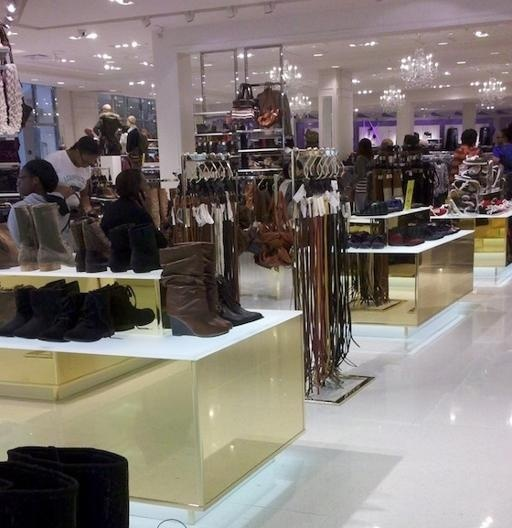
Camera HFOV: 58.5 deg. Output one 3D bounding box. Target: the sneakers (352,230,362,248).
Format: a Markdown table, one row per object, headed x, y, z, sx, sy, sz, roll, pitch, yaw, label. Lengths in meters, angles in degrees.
| x | y | z | sx | sy | sz | roll | pitch | yaw | label |
| --- | --- | --- | --- | --- | --- | --- | --- | --- | --- |
| 0.970 | -0.242 | 4.415 | 0.077 | 0.156 | 0.053 | 2 | -16 | 13 | sneakers |

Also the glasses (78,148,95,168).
| x | y | z | sx | sy | sz | roll | pitch | yaw | label |
| --- | --- | --- | --- | --- | --- | --- | --- | --- | --- |
| -1.572 | -0.993 | 4.261 | 0.126 | 0.149 | 0.106 | -5 | 13 | 0 | glasses |

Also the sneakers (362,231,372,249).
| x | y | z | sx | sy | sz | roll | pitch | yaw | label |
| --- | --- | --- | --- | --- | --- | --- | --- | --- | --- |
| 1.053 | -0.231 | 4.382 | 0.114 | 0.188 | 0.404 | -3 | 4 | 15 | sneakers |

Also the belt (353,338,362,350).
| x | y | z | sx | sy | sz | roll | pitch | yaw | label |
| --- | --- | --- | --- | --- | --- | --- | --- | --- | --- |
| 0.924 | 0.710 | 4.248 | 0.079 | 0.068 | 0.327 | -1 | 4 | 12 | belt |

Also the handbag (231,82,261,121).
| x | y | z | sx | sy | sz | roll | pitch | yaw | label |
| --- | --- | --- | --- | --- | --- | --- | --- | --- | --- |
| -0.168 | -2.649 | 7.452 | 0.473 | 0.625 | 0.315 | -1 | 4 | 0 | handbag |

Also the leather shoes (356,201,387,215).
| x | y | z | sx | sy | sz | roll | pitch | yaw | label |
| --- | --- | --- | --- | --- | --- | --- | --- | --- | --- |
| 1.184 | -0.552 | 4.582 | 0.133 | 0.094 | 0.234 | -6 | 8 | -34 | leather shoes |

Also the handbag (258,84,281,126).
| x | y | z | sx | sy | sz | roll | pitch | yaw | label |
| --- | --- | --- | --- | --- | --- | --- | --- | --- | --- |
| 0.191 | -2.532 | 7.373 | 0.392 | 0.731 | 0.361 | -1 | 4 | 6 | handbag |

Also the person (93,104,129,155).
| x | y | z | sx | sy | sz | roll | pitch | yaw | label |
| --- | --- | --- | --- | --- | --- | --- | --- | --- | --- |
| -3.026 | -2.639 | 9.417 | 0.479 | 1.397 | 0.512 | -6 | 40 | -18 | person |

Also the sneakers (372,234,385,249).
| x | y | z | sx | sy | sz | roll | pitch | yaw | label |
| --- | --- | --- | --- | --- | --- | --- | --- | --- | --- |
| 1.160 | -0.218 | 4.336 | 0.084 | 0.092 | 0.151 | 1 | 2 | -14 | sneakers |

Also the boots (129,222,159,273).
| x | y | z | sx | sy | sz | roll | pitch | yaw | label |
| --- | --- | --- | --- | --- | --- | --- | --- | --- | --- |
| -0.439 | -0.066 | 1.826 | 0.072 | 0.185 | 0.145 | 1 | 5 | 28 | boots |

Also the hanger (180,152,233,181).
| x | y | z | sx | sy | sz | roll | pitch | yaw | label |
| --- | --- | --- | --- | --- | --- | --- | --- | --- | --- |
| -0.319 | -0.638 | 2.975 | 0.264 | 0.124 | 0.216 | 1 | 11 | 4 | hanger |

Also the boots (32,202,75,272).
| x | y | z | sx | sy | sz | roll | pitch | yaw | label |
| --- | --- | --- | --- | --- | --- | --- | --- | --- | --- |
| -0.880 | -0.123 | 2.014 | 0.114 | 0.283 | 0.229 | 1 | 5 | 27 | boots |
